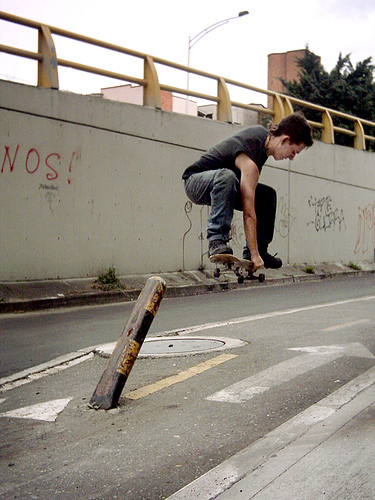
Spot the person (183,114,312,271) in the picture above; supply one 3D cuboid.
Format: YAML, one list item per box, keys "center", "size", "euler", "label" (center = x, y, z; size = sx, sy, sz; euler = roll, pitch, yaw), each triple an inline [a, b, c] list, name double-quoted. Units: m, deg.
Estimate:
- center: [0.523, -0.475, 5.368]
  size: [0.948, 1.309, 0.965]
  euler: [-2, 2, -25]
  label: "person"
